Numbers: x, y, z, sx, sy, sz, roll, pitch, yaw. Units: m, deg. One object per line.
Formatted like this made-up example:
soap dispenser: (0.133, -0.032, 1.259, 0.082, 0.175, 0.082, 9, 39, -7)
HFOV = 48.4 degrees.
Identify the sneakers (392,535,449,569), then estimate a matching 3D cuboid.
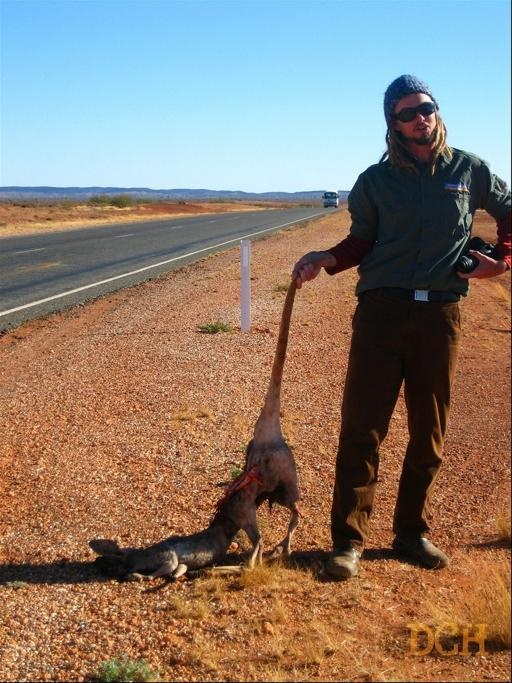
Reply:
sneakers: (0.833, 1.072, 2.899, 0.095, 0.104, 0.265, -12, 11, -39)

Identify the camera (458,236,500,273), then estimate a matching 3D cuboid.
camera: (1.056, -0.416, 2.723, 0.177, 0.172, 0.374, -2, 7, 24)

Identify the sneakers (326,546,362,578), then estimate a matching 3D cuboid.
sneakers: (0.424, 1.087, 2.796, 0.135, 0.121, 0.238, -3, 7, 18)

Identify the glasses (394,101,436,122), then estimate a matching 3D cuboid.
glasses: (0.737, -1.061, 2.656, 0.203, 0.091, 0.091, -3, 7, 14)

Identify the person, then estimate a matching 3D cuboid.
person: (0.728, -0.053, 2.783, 1.062, 2.402, 0.456, -5, 6, 3)
